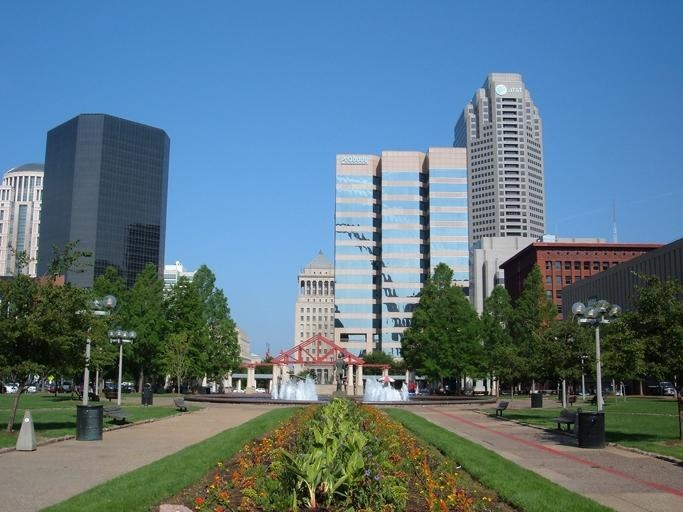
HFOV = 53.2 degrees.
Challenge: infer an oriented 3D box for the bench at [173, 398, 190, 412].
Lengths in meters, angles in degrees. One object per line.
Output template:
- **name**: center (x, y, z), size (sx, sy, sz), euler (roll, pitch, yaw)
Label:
- **bench**: center (-10.654, 9.670, 44.727), size (0.936, 0.973, 1.419), euler (5, -6, -38)

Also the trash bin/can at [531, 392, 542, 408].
- **trash bin/can**: center (15.456, 11.311, 53.732), size (0.965, 1.166, 1.008), euler (2, -10, -7)

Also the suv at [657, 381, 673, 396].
- **suv**: center (43.363, 17.563, 90.719), size (1.656, 1.957, 9.402), euler (-6, -15, 24)

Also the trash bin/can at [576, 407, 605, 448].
- **trash bin/can**: center (10.397, 7.132, 28.257), size (1.224, 1.454, 1.286), euler (-5, -11, 38)
